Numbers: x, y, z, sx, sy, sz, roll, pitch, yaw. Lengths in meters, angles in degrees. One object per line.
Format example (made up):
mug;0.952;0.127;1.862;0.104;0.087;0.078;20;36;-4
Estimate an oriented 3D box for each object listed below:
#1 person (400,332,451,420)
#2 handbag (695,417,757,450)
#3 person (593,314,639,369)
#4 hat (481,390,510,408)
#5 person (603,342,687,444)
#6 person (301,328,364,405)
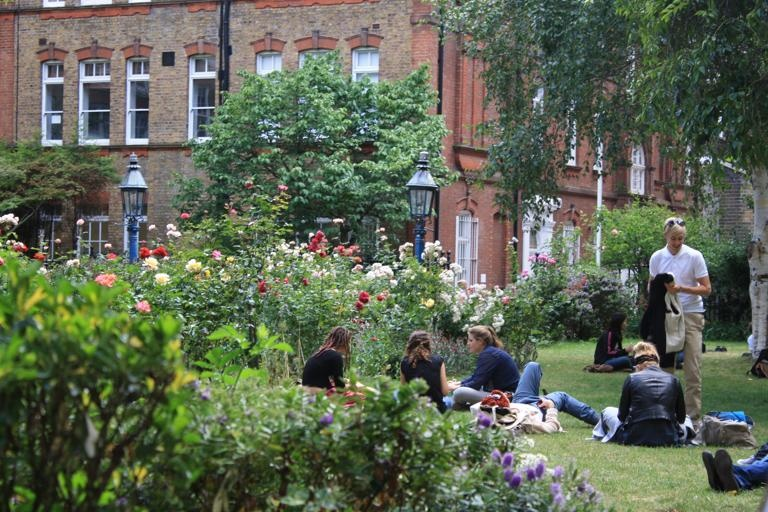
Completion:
person;0.772;2.255;26.331;0.919;1.601;0.668;1;-4;-1
handbag;6.797;3.549;26.706;0.900;0.317;0.621;2;-3;-20
person;5.768;2.155;33.152;1.110;1.436;1.046;-1;-1;18
hat;2.226;2.893;27.074;0.490;0.199;0.344;1;-2;-21
person;5.248;2.777;26.899;1.628;2.091;0.606;0;-4;10
person;-0.943;2.094;26.534;1.210;1.322;1.041;2;9;-44
